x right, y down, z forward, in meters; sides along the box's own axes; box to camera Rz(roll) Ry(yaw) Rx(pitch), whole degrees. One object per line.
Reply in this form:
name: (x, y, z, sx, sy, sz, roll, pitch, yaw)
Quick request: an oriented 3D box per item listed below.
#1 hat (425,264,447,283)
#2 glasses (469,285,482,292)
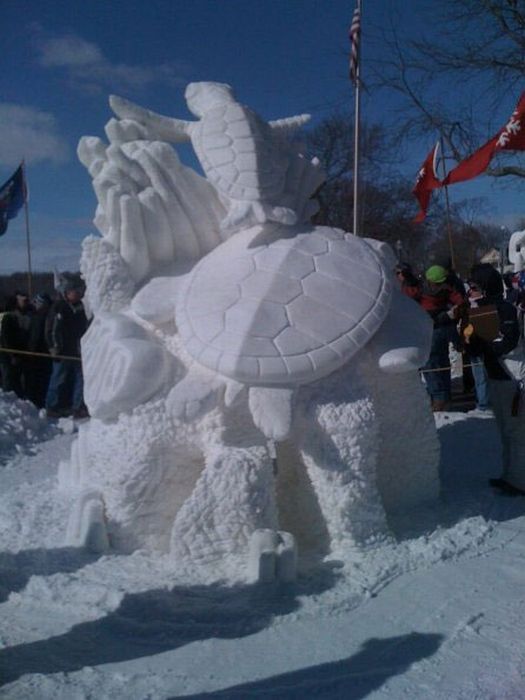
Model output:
hat: (1.370, -0.581, 5.996, 0.121, 0.153, 0.055, 34, 7, 21)
glasses: (1.284, -0.369, 4.601, 0.038, 0.013, 0.044, 19, 25, 16)
